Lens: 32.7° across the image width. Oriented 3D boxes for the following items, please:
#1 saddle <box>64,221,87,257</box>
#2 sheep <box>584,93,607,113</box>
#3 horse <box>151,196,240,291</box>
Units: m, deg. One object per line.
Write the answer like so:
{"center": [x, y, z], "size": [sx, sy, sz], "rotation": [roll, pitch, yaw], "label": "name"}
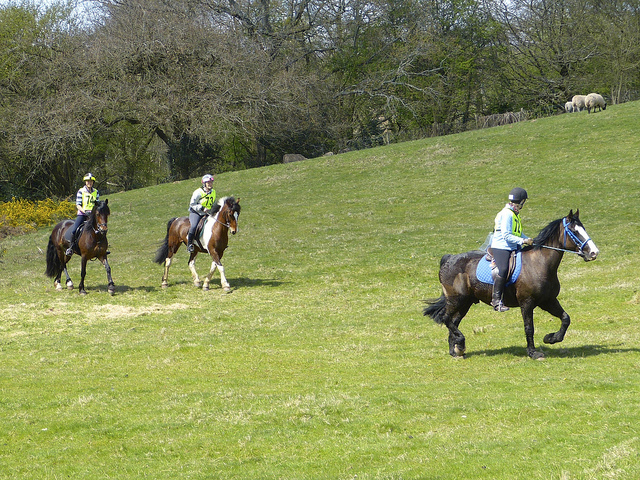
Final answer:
{"center": [-13.718, -0.140, 61.425], "size": [1.456, 1.716, 0.676], "rotation": [5, 9, 25], "label": "saddle"}
{"center": [22.602, -11.164, 88.919], "size": [1.582, 1.347, 3.209], "rotation": [-4, 1, 14], "label": "sheep"}
{"center": [-6.663, -0.292, 62.177], "size": [3.568, 6.263, 2.358], "rotation": [0, 1, 42], "label": "horse"}
